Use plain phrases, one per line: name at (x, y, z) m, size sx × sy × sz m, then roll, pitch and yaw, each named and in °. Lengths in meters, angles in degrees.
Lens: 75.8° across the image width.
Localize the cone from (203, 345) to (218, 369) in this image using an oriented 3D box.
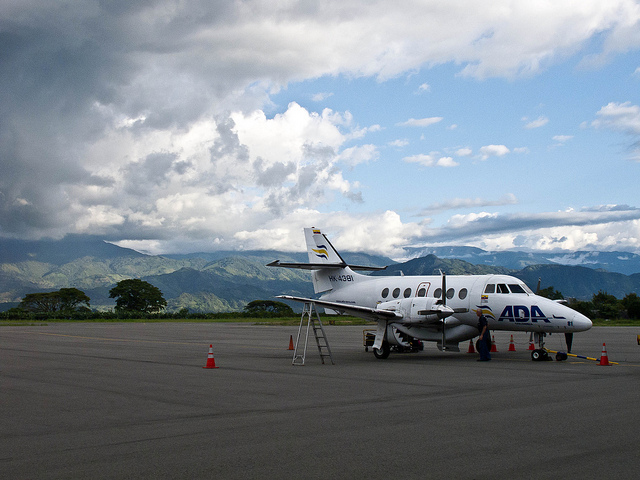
cone at (-4.551, 4.831, 17.226) m, size 0.536 × 1.019 × 1.519 m, roll 1°, pitch -7°, yaw -14°

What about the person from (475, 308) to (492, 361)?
person at (7.918, 4.596, 19.994) m, size 0.621 × 2.390 × 1.239 m, roll -4°, pitch -8°, yaw 20°
